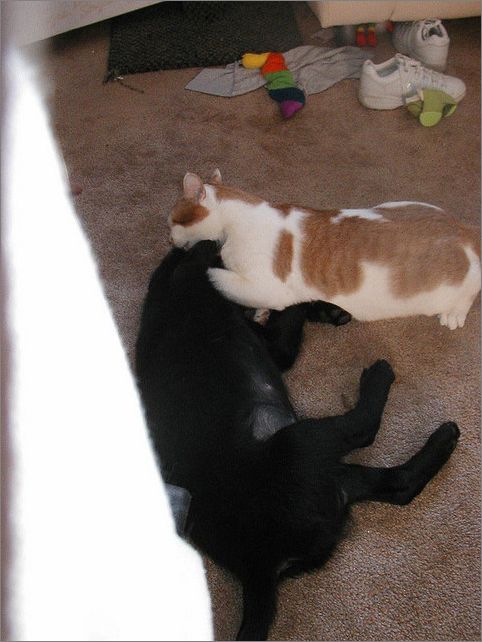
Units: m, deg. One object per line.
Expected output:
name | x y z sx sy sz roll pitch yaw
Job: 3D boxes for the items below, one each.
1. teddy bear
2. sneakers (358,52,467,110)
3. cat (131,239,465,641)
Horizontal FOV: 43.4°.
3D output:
teddy bear | 0.167 -1.141 2.876 0.190 0.089 0.366 -40 98 -32
sneakers | 0.699 -1.030 2.668 0.534 0.236 0.195 4 57 9
cat | 0.128 0.292 1.511 0.669 0.305 0.942 -23 65 26
